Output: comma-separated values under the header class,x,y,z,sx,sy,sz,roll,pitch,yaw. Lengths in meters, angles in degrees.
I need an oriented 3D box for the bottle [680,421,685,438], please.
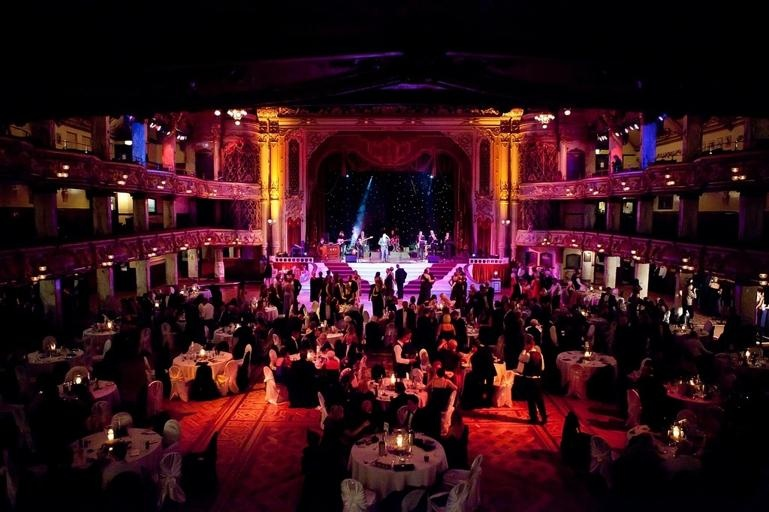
class,x,y,z,sx,sy,sz,roll,pitch,yaw
bottle,4.932,2.838,9.467,0.052,0.250,0.149,3,3,14
